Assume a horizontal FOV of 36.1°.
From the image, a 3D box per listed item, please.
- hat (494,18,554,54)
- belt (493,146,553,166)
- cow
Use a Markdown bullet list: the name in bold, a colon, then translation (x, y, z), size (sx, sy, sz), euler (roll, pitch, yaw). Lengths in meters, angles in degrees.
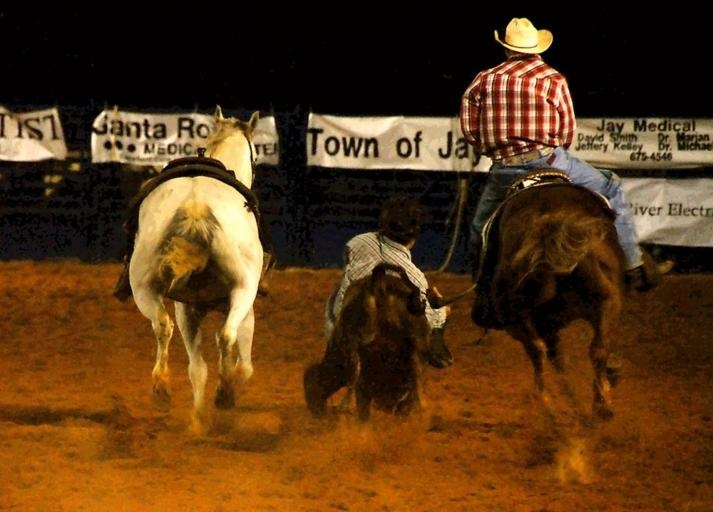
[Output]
- **hat**: translation (1.849, -2.527, 12.439), size (0.784, 0.285, 0.815), euler (16, 18, 22)
- **belt**: translation (1.867, -1.092, 12.146), size (0.323, 0.076, 0.304), euler (-16, -5, -10)
- **cow**: translation (0.136, 0.885, 11.026), size (1.160, 1.659, 0.504), euler (3, 6, 7)
